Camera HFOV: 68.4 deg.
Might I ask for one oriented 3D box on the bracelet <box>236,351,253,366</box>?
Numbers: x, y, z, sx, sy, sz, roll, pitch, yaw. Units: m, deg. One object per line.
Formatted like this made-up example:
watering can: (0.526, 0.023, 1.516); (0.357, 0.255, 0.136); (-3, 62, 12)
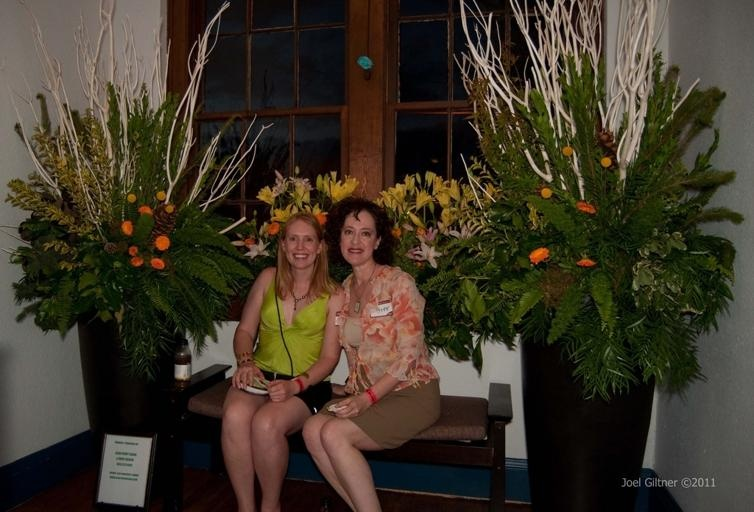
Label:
bracelet: (-0.728, 0.564, 3.037); (0.065, 0.022, 0.074); (-5, 41, 2)

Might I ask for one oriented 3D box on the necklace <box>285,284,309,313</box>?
necklace: (-0.458, 0.239, 3.138); (0.125, 0.148, 0.053); (7, -10, 8)

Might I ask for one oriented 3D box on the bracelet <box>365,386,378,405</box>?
bracelet: (-0.028, 0.711, 2.801); (0.069, 0.076, 0.040); (2, 0, -20)

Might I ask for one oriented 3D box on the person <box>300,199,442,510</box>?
person: (-0.003, 0.457, 2.903); (0.663, 1.462, 0.554); (1, 0, 7)

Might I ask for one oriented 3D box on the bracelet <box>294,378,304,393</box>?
bracelet: (-0.409, 0.681, 2.934); (0.055, 0.024, 0.063); (4, 12, -14)
